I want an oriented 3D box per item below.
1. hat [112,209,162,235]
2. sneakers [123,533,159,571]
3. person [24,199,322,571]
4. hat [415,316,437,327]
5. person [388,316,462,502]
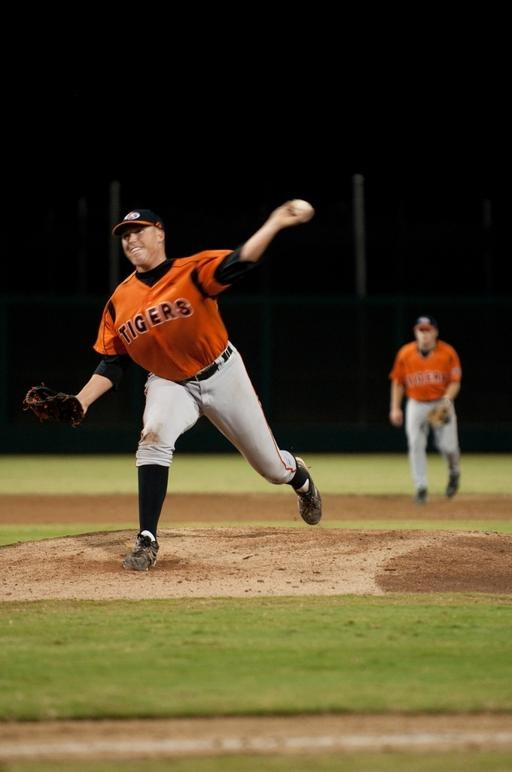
[{"bbox_3d":[-0.462,-0.675,3.930,0.126,0.082,0.180,-18,-24,31],"label":"hat"},{"bbox_3d":[-0.448,0.658,3.812,0.089,0.101,0.184,1,2,8],"label":"sneakers"},{"bbox_3d":[-0.275,-0.015,4.003,1.464,1.285,0.544,-6,0,-24],"label":"person"},{"bbox_3d":[1.140,-0.425,6.464,0.106,0.062,0.134,4,10,13],"label":"hat"},{"bbox_3d":[1.163,0.211,6.650,0.513,1.377,0.755,3,11,10],"label":"person"}]
